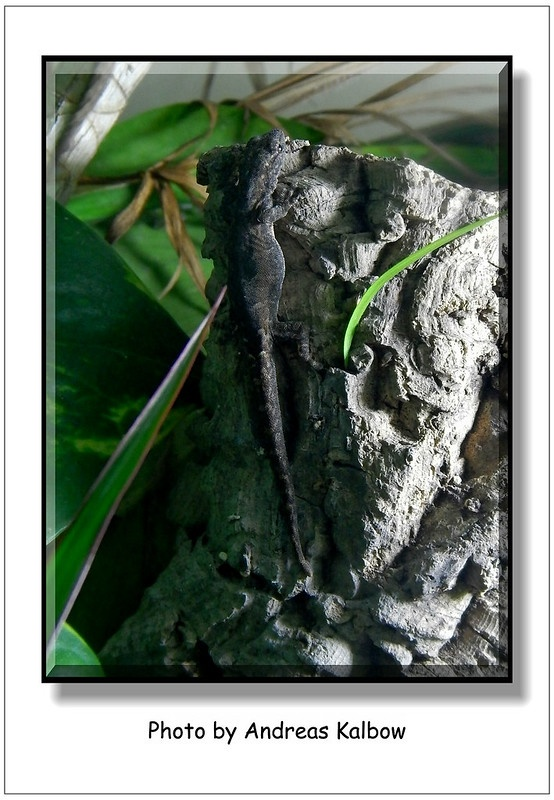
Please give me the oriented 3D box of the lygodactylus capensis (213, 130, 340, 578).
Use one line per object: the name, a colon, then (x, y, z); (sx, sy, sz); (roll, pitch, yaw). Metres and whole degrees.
lygodactylus capensis: (0.037, -0.128, 2.051); (0.199, 0.999, 0.271); (-6, 6, -39)
